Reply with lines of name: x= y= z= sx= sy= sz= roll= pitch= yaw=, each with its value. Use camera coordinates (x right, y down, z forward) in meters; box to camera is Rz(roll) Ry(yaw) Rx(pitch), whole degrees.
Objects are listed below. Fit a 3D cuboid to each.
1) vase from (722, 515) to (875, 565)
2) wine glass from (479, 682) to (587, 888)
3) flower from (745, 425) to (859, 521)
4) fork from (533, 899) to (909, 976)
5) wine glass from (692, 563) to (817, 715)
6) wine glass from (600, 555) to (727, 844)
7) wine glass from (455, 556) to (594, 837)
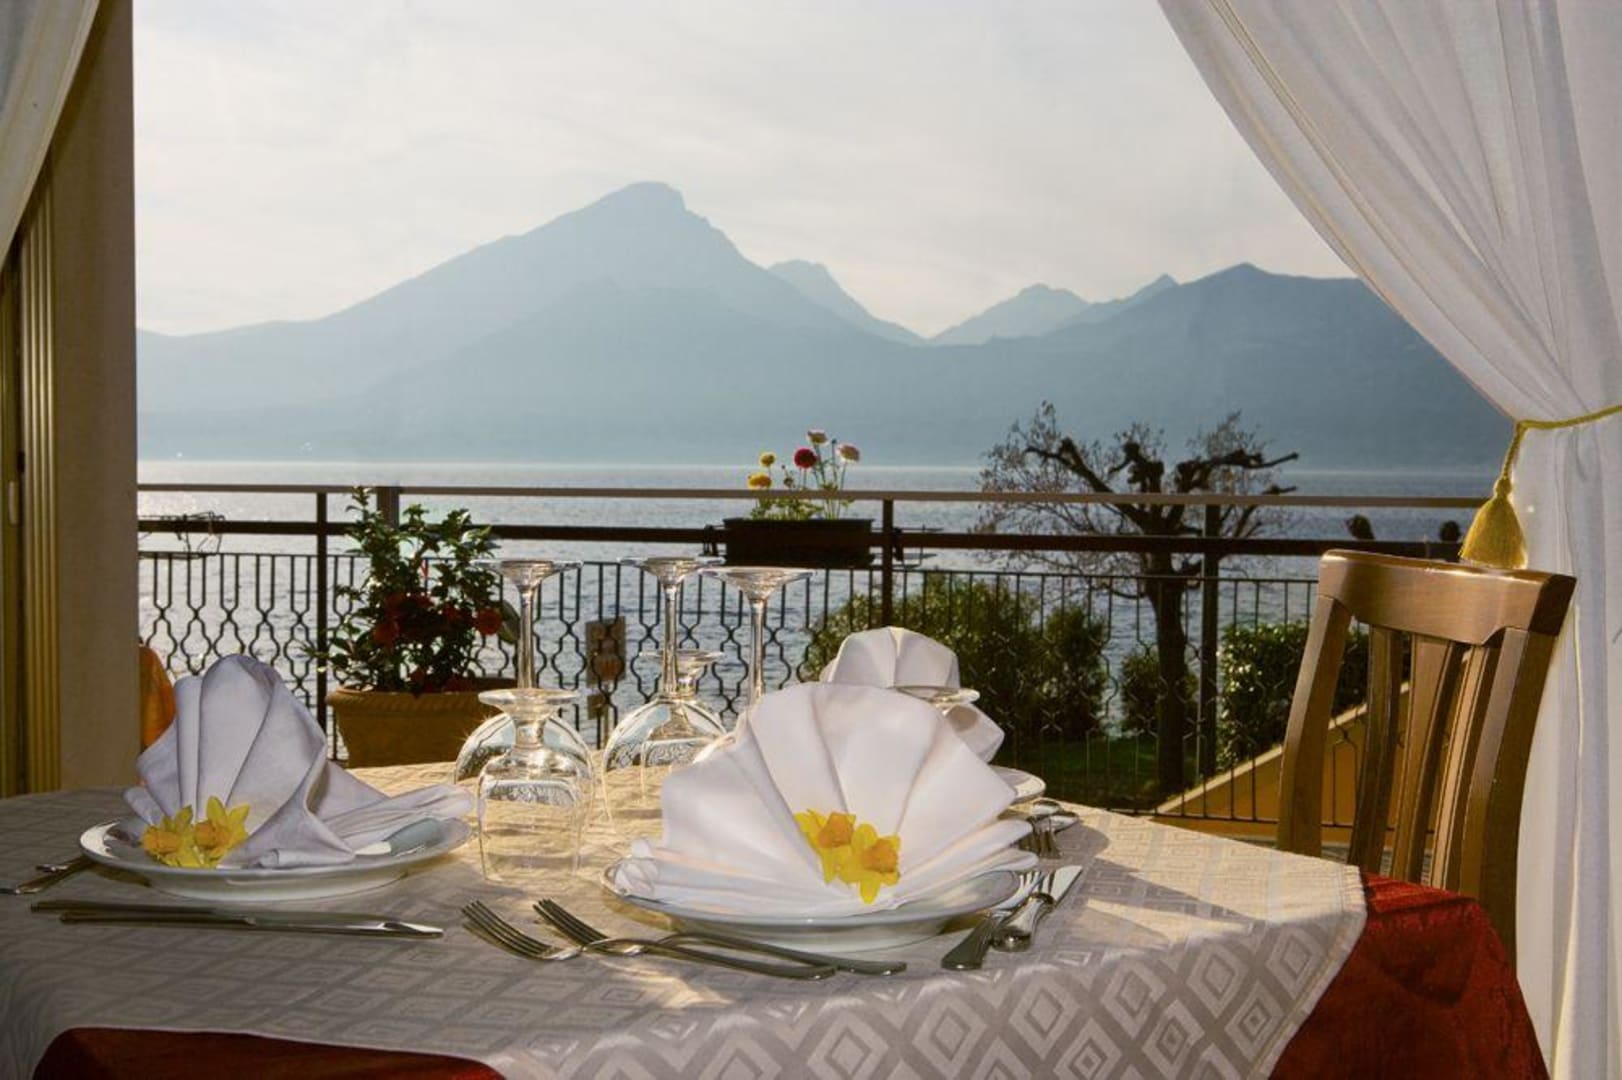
vase: x=-0.062 y=0.008 z=5.045 sx=0.549 sy=0.187 sz=0.380 roll=-1 pitch=1 yaw=0
wine glass: x=-0.358 y=0.318 z=1.718 sx=0.154 sy=0.268 sz=0.171 roll=-5 pitch=-21 yaw=2
flower: x=-0.041 y=-0.257 z=5.679 sx=0.388 sy=0.691 sz=0.373 roll=-5 pitch=1 yaw=-10
fork: x=-0.084 y=0.427 z=1.487 sx=0.251 sy=0.034 sz=0.041 roll=5 pitch=22 yaw=13
wine glass: x=-0.063 y=0.141 z=2.046 sx=0.162 sy=0.247 sz=0.159 roll=-1 pitch=2 yaw=-41
wine glass: x=-0.192 y=0.215 z=1.970 sx=0.159 sy=0.393 sz=0.174 roll=-5 pitch=5 yaw=-19
wine glass: x=-0.340 y=0.242 z=1.693 sx=0.118 sy=0.142 sz=0.271 roll=1 pitch=-30 yaw=-9
